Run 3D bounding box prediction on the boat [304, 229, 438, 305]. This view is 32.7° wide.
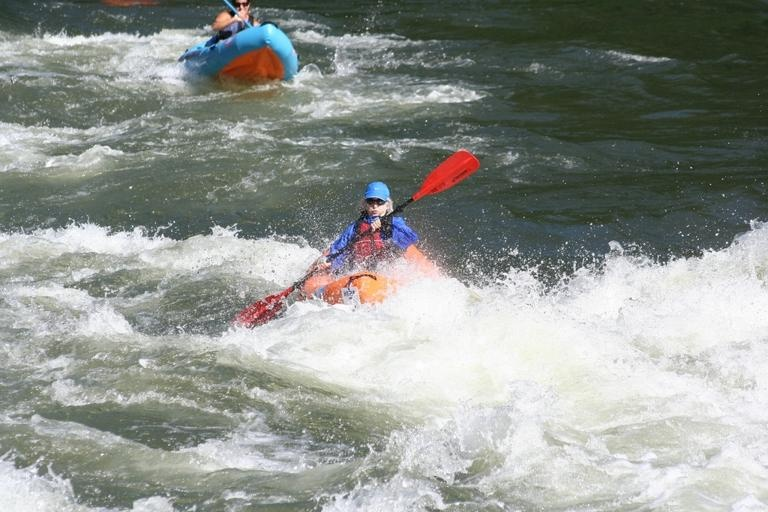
[{"bbox_3d":[-0.082,0.144,17.542,1.247,0.352,0.942,-11,14,-32],"label":"boat"}]

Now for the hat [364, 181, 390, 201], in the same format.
[{"bbox_3d":[-0.081,-0.907,18.247,0.263,0.158,0.351,1,0,8],"label":"hat"}]

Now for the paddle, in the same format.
[{"bbox_3d":[-0.385,-0.192,18.460,4.599,0.548,0.320,-29,28,-9],"label":"paddle"}]
